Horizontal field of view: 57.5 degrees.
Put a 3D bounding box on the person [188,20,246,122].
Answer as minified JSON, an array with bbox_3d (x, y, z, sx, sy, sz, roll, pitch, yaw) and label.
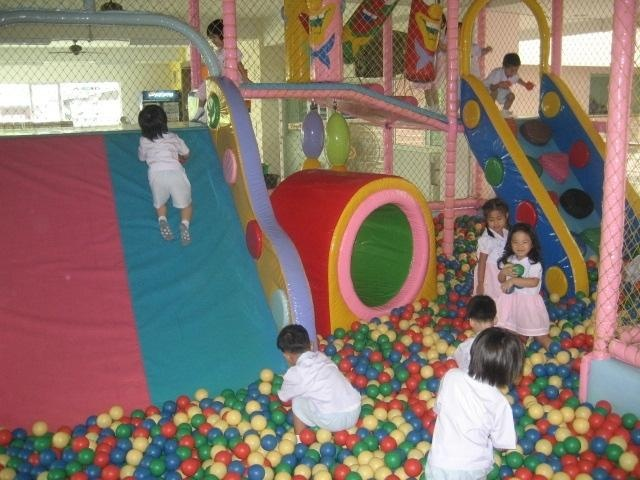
[{"bbox_3d":[-1.130,-1.866,6.399,0.691,1.052,0.396,-7,15,-20],"label":"person"}]

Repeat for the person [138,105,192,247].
[{"bbox_3d":[-1.168,-0.576,4.401,0.332,1.189,0.357,-9,-15,-22],"label":"person"}]

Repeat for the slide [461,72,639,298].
[{"bbox_3d":[1.983,-0.579,5.451,1.167,2.451,0.523,2,-25,-21],"label":"slide"}]
